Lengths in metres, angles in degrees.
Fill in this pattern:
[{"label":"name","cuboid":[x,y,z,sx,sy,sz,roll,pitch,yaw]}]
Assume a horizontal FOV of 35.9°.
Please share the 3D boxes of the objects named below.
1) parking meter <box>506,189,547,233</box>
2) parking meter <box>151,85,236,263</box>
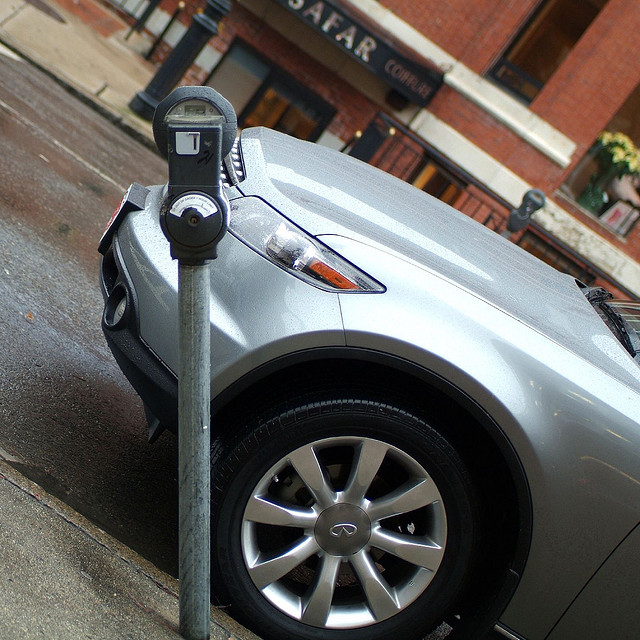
[{"label":"parking meter","cuboid":[2.236,-1.199,10.853,0.267,0.080,0.755,16,-21,2]},{"label":"parking meter","cuboid":[-0.405,-0.481,3.083,0.209,0.556,0.240,-3,21,-10]}]
